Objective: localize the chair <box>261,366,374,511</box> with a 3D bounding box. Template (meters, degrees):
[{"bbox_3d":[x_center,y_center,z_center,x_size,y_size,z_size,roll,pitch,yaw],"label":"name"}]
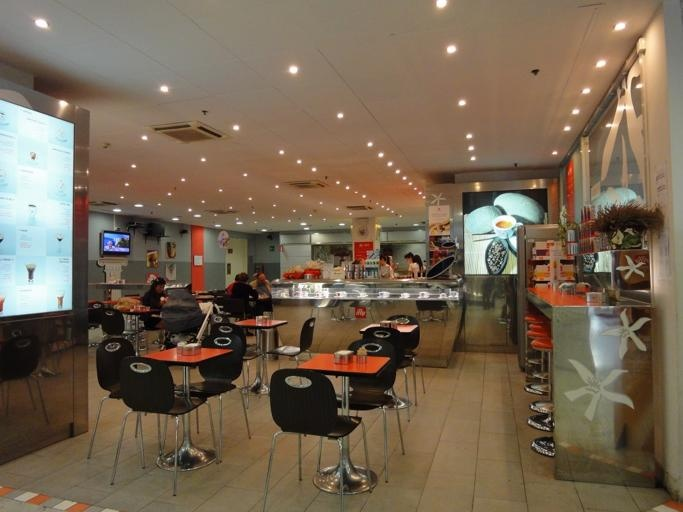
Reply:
[{"bbox_3d":[-0.272,1.507,4.408,0.806,1.223,0.800,-1,5,0],"label":"chair"}]

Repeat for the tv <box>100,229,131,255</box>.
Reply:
[{"bbox_3d":[-7.801,-0.408,17.287,0.253,0.885,1.106,2,6,28],"label":"tv"}]

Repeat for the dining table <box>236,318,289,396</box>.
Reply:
[{"bbox_3d":[-1.280,1.427,7.322,1.030,1.020,0.958,5,-1,-16],"label":"dining table"}]

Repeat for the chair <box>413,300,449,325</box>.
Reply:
[{"bbox_3d":[1.423,0.881,7.989,0.393,0.442,0.375,1,-1,21],"label":"chair"}]

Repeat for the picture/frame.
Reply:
[{"bbox_3d":[2.728,-0.290,4.808,0.571,0.442,0.309,2,6,26],"label":"picture/frame"}]

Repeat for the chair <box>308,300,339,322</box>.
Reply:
[{"bbox_3d":[-0.266,0.876,8.421,0.406,0.474,0.361,0,-1,26],"label":"chair"}]

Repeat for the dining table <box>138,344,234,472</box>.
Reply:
[{"bbox_3d":[-1.578,1.556,5.137,0.747,1.004,0.756,-4,-5,8],"label":"dining table"}]

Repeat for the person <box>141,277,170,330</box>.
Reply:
[{"bbox_3d":[-3.558,0.894,9.534,0.558,0.909,0.422,10,5,-2],"label":"person"}]

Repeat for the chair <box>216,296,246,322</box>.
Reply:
[{"bbox_3d":[-2.189,1.084,10.048,0.507,0.553,1.047,-2,5,-13],"label":"chair"}]

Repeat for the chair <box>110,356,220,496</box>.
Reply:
[{"bbox_3d":[-1.789,1.474,4.906,0.728,1.174,0.823,6,6,7],"label":"chair"}]

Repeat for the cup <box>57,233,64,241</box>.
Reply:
[{"bbox_3d":[-3.083,-0.201,5.504,0.068,0.102,0.067,-3,3,0],"label":"cup"}]

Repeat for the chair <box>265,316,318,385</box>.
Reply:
[{"bbox_3d":[-0.688,1.231,6.833,0.604,0.832,0.489,3,2,22],"label":"chair"}]
